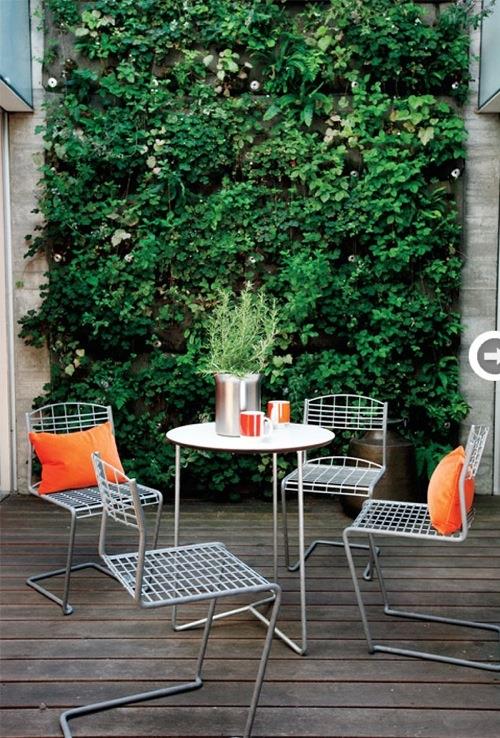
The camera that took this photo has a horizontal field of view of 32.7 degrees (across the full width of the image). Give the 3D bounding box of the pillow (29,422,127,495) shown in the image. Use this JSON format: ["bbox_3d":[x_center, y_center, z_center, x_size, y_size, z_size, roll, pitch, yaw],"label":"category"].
[{"bbox_3d":[-0.739,0.382,3.664,0.427,0.259,0.156,-6,7,-43],"label":"pillow"}]

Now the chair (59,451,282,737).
[{"bbox_3d":[-0.317,0.856,3.180,0.829,1.068,0.582,-6,16,-16],"label":"chair"}]

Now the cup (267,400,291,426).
[{"bbox_3d":[0.112,0.171,3.407,0.076,0.066,0.096,3,8,12],"label":"cup"}]

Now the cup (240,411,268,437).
[{"bbox_3d":[0.008,0.201,3.066,0.090,0.095,0.060,-2,14,-10],"label":"cup"}]

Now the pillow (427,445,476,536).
[{"bbox_3d":[0.713,0.440,3.041,0.170,0.278,0.305,1,7,10],"label":"pillow"}]
